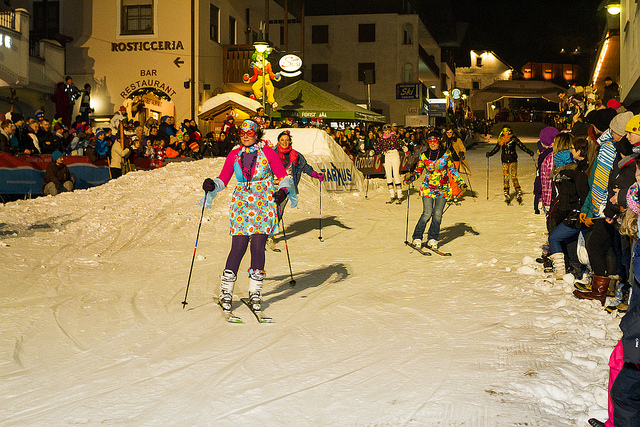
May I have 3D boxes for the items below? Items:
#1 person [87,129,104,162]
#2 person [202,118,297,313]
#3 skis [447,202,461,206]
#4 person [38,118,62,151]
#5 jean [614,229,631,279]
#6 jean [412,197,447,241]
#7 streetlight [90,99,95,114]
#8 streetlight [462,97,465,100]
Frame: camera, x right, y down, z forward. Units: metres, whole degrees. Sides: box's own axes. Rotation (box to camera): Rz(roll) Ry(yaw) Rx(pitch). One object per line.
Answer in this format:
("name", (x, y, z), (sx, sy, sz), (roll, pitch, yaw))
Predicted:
("person", (-7.777, -2.331, 17.847), (0.496, 0.940, 1.640), (-4, 12, -20))
("person", (-1.098, 0.035, 8.231), (1.259, 3.007, 1.053), (-2, 11, -7))
("skis", (4.681, -0.349, 17.998), (0.470, 0.191, 0.146), (3, 37, 3))
("person", (-9.167, -2.641, 17.467), (0.608, 0.976, 0.732), (-7, 13, -32))
("jean", (5.011, 0.686, 8.552), (0.266, 0.892, 0.553), (6, 13, 31))
("jean", (2.608, 0.036, 12.000), (0.572, 0.483, 1.866), (2, 38, 20))
("streetlight", (-12.503, -5.839, 28.209), (0.177, 0.774, 0.376), (-4, 12, -18))
("streetlight", (17.651, -14.187, 63.686), (0.127, 0.238, 0.975), (-22, -6, 33))
